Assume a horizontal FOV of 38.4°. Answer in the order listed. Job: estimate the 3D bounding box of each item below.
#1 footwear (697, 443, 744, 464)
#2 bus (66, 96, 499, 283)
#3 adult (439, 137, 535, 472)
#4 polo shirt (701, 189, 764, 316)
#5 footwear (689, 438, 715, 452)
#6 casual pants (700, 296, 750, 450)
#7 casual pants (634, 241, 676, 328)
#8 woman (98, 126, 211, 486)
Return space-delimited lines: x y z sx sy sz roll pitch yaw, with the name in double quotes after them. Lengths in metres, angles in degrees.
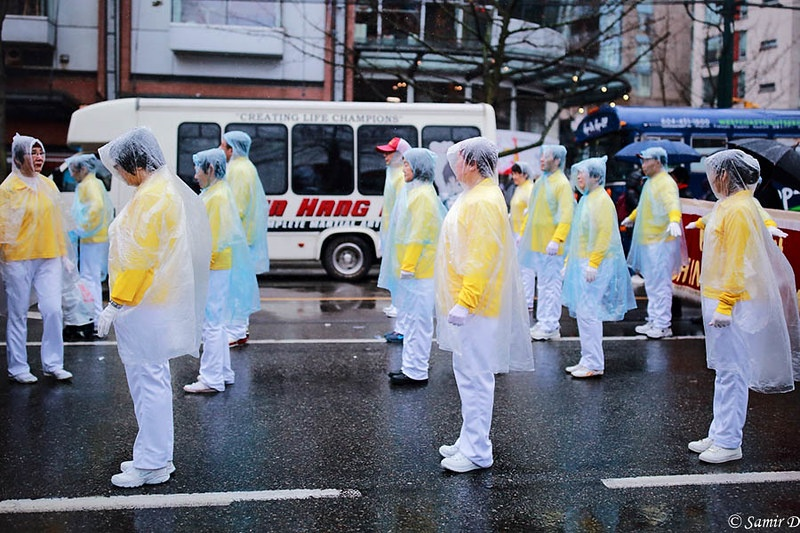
3.792 2.235 13.580 0.520 0.212 0.189 0 1 -7 "footwear"
-2.426 -1.564 22.780 7.986 3.434 2.754 -1 10 -19 "bus"
0.942 0.452 13.354 1.052 3.907 0.564 0 3 1 "adult"
3.897 -0.118 13.403 0.629 1.198 1.466 2 6 20 "polo shirt"
3.594 2.141 13.671 0.307 0.126 0.122 -4 23 4 "footwear"
3.852 1.217 13.664 0.574 1.954 0.546 3 -12 11 "casual pants"
3.975 0.280 17.765 0.572 1.573 1.328 5 -1 2 "casual pants"
-2.816 0.460 13.155 1.212 4.108 0.442 -1 3 -14 "woman"
